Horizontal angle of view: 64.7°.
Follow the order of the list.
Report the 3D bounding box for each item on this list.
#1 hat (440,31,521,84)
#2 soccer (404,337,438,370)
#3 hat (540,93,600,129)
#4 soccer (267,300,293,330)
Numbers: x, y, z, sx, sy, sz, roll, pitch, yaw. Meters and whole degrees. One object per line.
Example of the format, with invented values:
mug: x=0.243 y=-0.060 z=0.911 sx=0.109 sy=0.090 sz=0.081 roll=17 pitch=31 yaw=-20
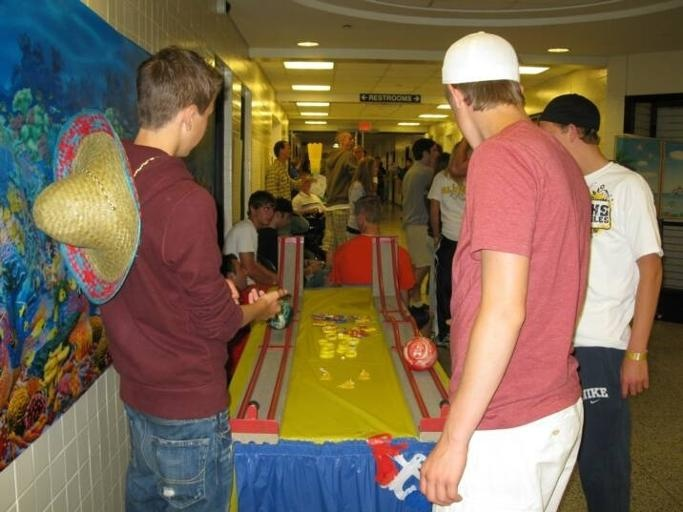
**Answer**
hat: x=0.420 y=-0.608 z=1.633 sx=0.218 sy=0.153 sz=0.219 roll=11 pitch=23 yaw=36
soccer: x=0.398 y=0.530 z=2.820 sx=0.154 sy=0.093 sz=0.159 roll=19 pitch=45 yaw=-13
hat: x=1.046 y=-0.684 z=2.468 sx=0.211 sy=0.149 sz=0.170 roll=-6 pitch=32 yaw=2
soccer: x=-0.303 y=0.289 z=2.726 sx=0.116 sy=0.171 sz=0.062 roll=-16 pitch=11 yaw=-25
